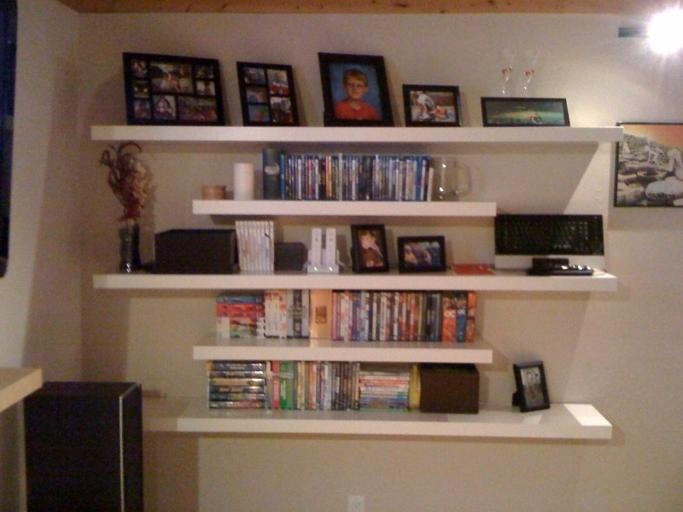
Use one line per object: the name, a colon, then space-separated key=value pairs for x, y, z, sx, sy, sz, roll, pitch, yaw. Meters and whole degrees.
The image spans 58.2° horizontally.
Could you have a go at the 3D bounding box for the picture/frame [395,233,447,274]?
picture/frame: x=0.409 y=-0.010 z=3.166 sx=0.196 sy=0.160 sz=0.028 roll=0 pitch=-7 yaw=-3

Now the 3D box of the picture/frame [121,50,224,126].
picture/frame: x=-0.865 y=-0.850 z=3.117 sx=0.381 sy=0.322 sz=0.028 roll=-3 pitch=0 yaw=-9

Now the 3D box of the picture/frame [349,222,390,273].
picture/frame: x=0.139 y=-0.046 z=3.168 sx=0.240 sy=0.342 sz=0.044 roll=-1 pitch=-6 yaw=-6

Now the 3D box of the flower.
flower: x=-1.120 y=-0.376 z=3.164 sx=0.247 sy=0.425 sz=0.128 roll=3 pitch=4 yaw=-6

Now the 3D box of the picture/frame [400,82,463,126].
picture/frame: x=0.463 y=-0.783 z=3.141 sx=0.238 sy=0.199 sz=0.025 roll=0 pitch=-8 yaw=-4

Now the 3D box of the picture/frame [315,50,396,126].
picture/frame: x=0.073 y=-0.876 z=3.145 sx=0.395 sy=0.421 sz=0.030 roll=-1 pitch=-12 yaw=-8

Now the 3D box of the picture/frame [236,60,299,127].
picture/frame: x=-0.384 y=-0.837 z=3.129 sx=0.341 sy=0.412 sz=0.027 roll=-4 pitch=-12 yaw=-9
